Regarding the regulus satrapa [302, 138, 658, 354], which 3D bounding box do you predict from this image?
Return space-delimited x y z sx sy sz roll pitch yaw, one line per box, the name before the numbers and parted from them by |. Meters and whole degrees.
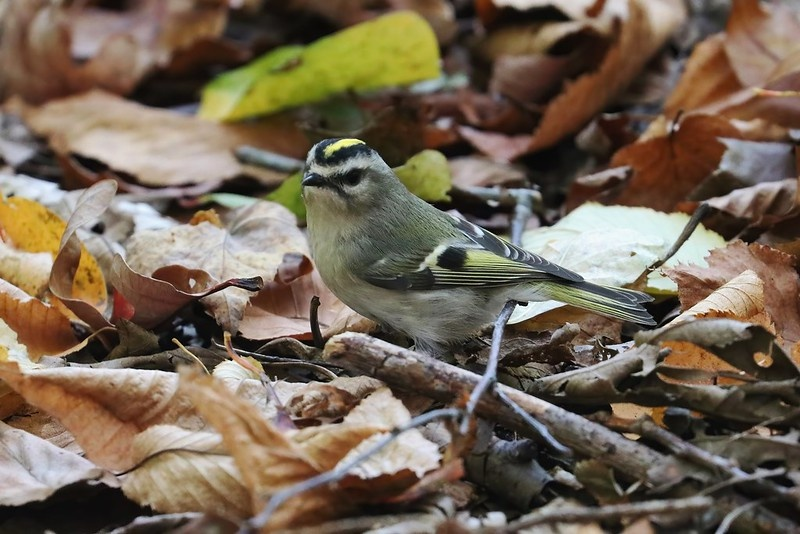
regulus satrapa | 0.103 -0.008 3.197 1.383 0.288 0.629 33 77 11
